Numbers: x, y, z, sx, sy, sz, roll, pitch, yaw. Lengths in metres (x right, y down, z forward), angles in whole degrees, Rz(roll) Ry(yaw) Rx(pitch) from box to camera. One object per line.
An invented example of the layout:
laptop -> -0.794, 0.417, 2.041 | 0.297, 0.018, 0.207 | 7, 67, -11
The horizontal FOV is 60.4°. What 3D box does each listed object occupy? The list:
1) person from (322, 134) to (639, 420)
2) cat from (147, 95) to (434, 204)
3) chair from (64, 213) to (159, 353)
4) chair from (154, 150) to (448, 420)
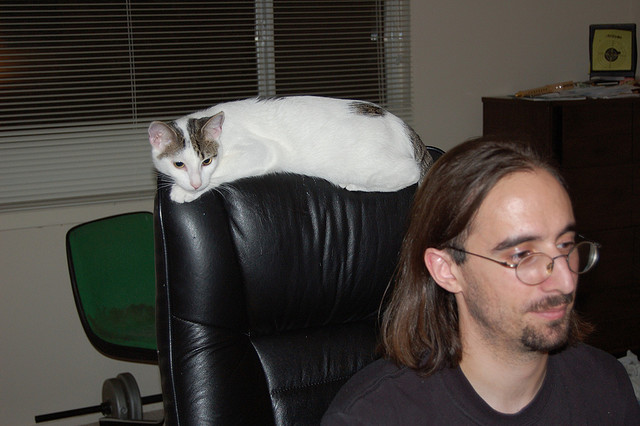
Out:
person -> 0.438, 0.228, 1.738 | 1.065, 0.915, 0.723 | -1, -1, -15
cat -> -0.144, -0.242, 1.985 | 0.749, 0.221, 0.523 | 2, 26, 1
chair -> -0.957, 0.304, 2.553 | 0.383, 0.563, 0.395 | -5, 5, -20
chair -> -0.113, 0.292, 2.220 | 0.766, 1.139, 0.943 | 5, -7, -18
